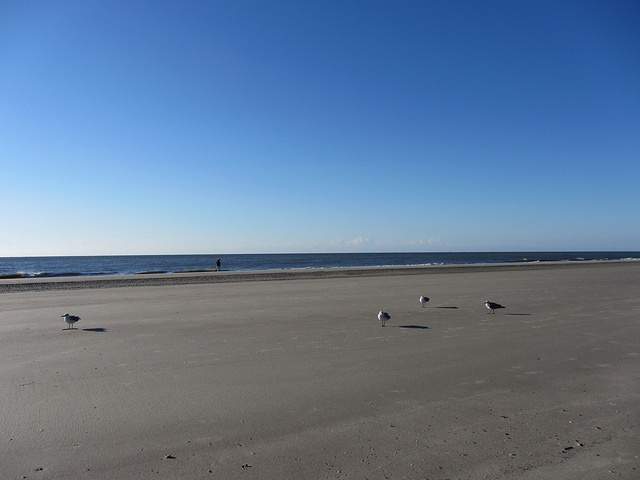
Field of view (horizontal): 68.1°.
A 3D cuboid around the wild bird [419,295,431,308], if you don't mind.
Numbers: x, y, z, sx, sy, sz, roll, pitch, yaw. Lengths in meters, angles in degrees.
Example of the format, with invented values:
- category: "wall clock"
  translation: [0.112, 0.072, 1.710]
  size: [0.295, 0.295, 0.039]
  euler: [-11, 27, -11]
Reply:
- category: "wild bird"
  translation: [4.232, 2.493, 19.210]
  size: [0.303, 0.426, 0.607]
  euler: [-4, -15, 13]

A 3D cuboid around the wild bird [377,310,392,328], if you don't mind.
- category: "wild bird"
  translation: [2.072, 2.559, 15.473]
  size: [0.294, 0.531, 0.792]
  euler: [0, 9, 5]
